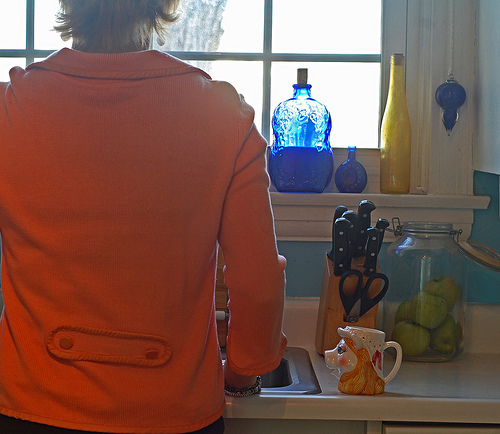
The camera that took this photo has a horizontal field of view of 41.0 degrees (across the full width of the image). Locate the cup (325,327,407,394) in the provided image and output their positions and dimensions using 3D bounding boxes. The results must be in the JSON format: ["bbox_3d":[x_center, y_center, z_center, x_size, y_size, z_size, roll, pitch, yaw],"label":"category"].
[{"bbox_3d":[0.241,0.306,1.437,0.146,0.150,0.116,2,-7,-1],"label":"cup"}]

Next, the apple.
[{"bbox_3d":[0.443,0.256,1.691,0.167,0.207,0.092,-1,7,16],"label":"apple"}]

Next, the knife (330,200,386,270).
[{"bbox_3d":[0.273,0.045,1.700,0.145,0.179,0.176,-2,7,4],"label":"knife"}]

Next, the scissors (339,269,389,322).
[{"bbox_3d":[0.272,0.190,1.642,0.084,0.138,0.017,16,8,-18],"label":"scissors"}]

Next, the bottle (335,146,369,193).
[{"bbox_3d":[0.295,-0.139,1.953,0.087,0.134,0.083,-2,7,0],"label":"bottle"}]

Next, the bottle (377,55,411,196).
[{"bbox_3d":[0.414,-0.269,1.926,0.083,0.400,0.055,-1,7,13],"label":"bottle"}]
